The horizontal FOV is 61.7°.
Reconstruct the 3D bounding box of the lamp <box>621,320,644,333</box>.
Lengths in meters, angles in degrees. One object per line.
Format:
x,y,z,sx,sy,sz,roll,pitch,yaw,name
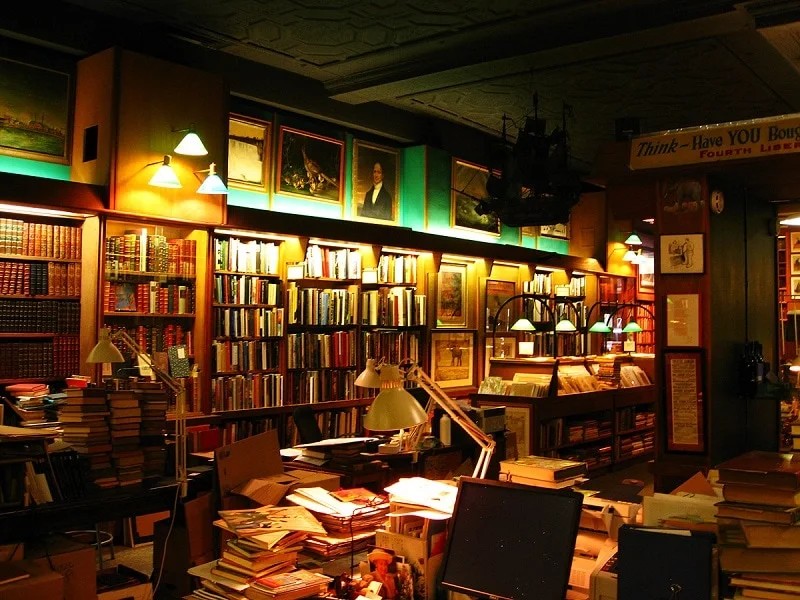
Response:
3.703,0.433,10.627,0.301,0.159,0.301,-3,-3,28,lamp

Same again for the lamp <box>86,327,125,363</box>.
-2.107,0.349,4.814,0.328,0.295,0.319,-1,0,-16,lamp

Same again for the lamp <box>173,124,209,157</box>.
-2.033,-1.506,6.420,0.385,0.239,0.327,3,3,40,lamp

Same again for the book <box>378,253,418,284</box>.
-0.029,-0.412,9.038,0.565,0.512,0.406,1,-7,-13,book

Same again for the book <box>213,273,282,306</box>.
-1.698,-0.112,7.475,0.118,0.339,0.862,-3,-4,39,book

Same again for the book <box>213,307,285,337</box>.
-1.682,0.241,7.446,0.833,0.324,0.108,2,-4,-43,book

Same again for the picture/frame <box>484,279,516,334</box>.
1.573,0.105,10.680,0.093,0.882,0.841,2,7,39,picture/frame

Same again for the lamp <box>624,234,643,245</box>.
4.149,-1.064,11.980,0.274,0.276,0.280,-1,3,-30,lamp

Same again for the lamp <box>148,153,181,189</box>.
-2.227,-1.213,6.371,0.345,0.332,0.317,4,2,33,lamp

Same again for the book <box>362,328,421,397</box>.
-0.119,0.573,6.484,0.827,0.737,0.290,6,-12,-40,book

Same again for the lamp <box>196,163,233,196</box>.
-1.833,-1.145,6.614,0.369,0.348,0.343,1,5,-6,lamp

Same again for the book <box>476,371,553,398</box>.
1.483,1.077,8.621,0.901,0.279,0.406,-3,-4,32,book

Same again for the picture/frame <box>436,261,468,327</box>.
0.749,-0.088,9.924,0.049,1.060,0.962,0,-4,37,picture/frame

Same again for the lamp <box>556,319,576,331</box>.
2.570,0.372,10.328,0.285,0.210,1.632,-2,-3,14,lamp

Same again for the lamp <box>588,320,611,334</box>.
3.162,0.433,10.571,0.383,0.175,0.378,-1,-4,13,lamp

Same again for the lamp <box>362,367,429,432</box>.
-0.042,0.523,3.495,0.328,0.270,0.336,-3,2,22,lamp

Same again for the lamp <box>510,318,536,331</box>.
1.605,0.328,8.752,0.243,0.098,0.237,1,-3,-34,lamp
